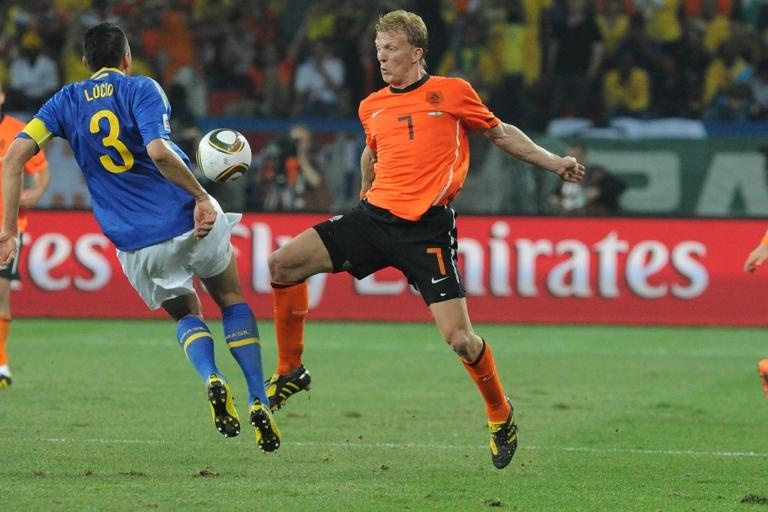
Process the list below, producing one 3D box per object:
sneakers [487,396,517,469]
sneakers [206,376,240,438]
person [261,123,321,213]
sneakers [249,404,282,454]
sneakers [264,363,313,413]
[{"bbox_3d":[0.942,1.490,8.775,0.175,0.476,0.210,-7,-15,33],"label":"sneakers"},{"bbox_3d":[-1.234,1.176,8.424,0.209,0.530,0.282,-20,-3,0],"label":"sneakers"},{"bbox_3d":[-1.442,-1.360,16.977,0.937,1.345,0.498,6,1,-1],"label":"person"},{"bbox_3d":[-0.934,1.358,8.489,0.220,0.453,0.245,0,9,-7],"label":"sneakers"},{"bbox_3d":[-0.796,1.121,9.151,0.576,0.266,0.206,-33,38,22],"label":"sneakers"}]
